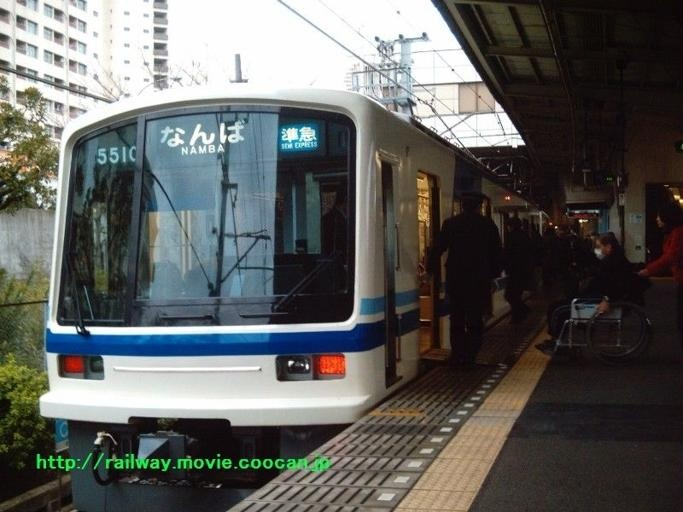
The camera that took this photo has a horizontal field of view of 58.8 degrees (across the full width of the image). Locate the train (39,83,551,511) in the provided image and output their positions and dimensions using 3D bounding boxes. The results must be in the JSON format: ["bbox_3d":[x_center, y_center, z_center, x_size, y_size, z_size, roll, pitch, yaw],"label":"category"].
[{"bbox_3d":[-0.841,0.396,5.348,3.331,3.646,1.667,2,4,-6],"label":"train"}]

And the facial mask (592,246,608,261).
[{"bbox_3d":[3.517,-0.018,8.281,0.177,0.169,0.187,6,1,30],"label":"facial mask"}]

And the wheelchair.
[{"bbox_3d":[3.091,0.823,7.256,1.251,1.394,0.776,3,-1,16],"label":"wheelchair"}]
